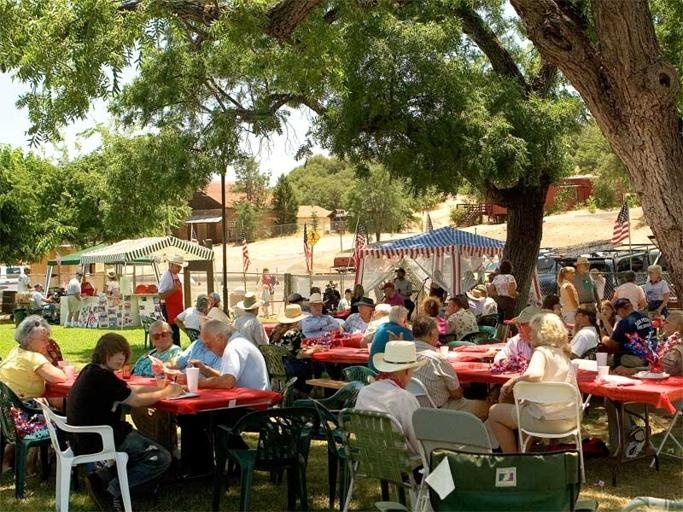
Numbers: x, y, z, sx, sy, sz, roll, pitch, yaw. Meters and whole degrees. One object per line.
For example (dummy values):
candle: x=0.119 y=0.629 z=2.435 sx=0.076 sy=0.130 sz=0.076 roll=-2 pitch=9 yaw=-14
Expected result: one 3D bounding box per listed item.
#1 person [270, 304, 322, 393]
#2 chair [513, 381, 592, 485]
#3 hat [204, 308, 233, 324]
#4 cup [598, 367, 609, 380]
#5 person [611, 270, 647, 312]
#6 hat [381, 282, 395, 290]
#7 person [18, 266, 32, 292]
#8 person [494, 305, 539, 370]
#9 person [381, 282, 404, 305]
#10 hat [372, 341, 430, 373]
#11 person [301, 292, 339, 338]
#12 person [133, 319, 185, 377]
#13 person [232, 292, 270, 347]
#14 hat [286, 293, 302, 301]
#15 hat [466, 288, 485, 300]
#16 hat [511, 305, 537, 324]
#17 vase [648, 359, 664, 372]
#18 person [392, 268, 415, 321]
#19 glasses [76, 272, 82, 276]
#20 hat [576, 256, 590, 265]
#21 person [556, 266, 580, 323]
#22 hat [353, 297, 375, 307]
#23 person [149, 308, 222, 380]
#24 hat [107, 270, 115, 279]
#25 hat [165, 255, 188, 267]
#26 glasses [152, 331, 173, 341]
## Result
person: x=-0.735 y=1.475 z=12.113 sx=0.641 sy=1.605 sz=0.844 roll=15 pitch=21 yaw=34
chair: x=2.124 y=1.755 z=7.971 sx=0.619 sy=1.207 sz=0.837 roll=0 pitch=-22 yaw=2
hat: x=-1.830 y=0.844 z=11.907 sx=0.436 sy=0.122 sz=0.408 roll=9 pitch=6 yaw=-18
cup: x=3.067 y=1.374 z=9.355 sx=0.129 sy=0.143 sz=0.123 roll=3 pitch=1 yaw=0
person: x=5.717 y=0.859 z=15.688 sx=0.606 sy=1.131 sz=0.557 roll=5 pitch=11 yaw=44
hat: x=1.019 y=0.647 z=17.244 sx=0.163 sy=0.130 sz=0.167 roll=2 pitch=-4 yaw=-27
person: x=-13.587 y=1.019 z=34.312 sx=0.638 sy=1.140 sz=0.398 roll=10 pitch=18 yaw=20
person: x=2.216 y=1.071 z=10.089 sx=0.515 sy=0.586 sz=0.778 roll=1 pitch=-3 yaw=44
person: x=1.092 y=0.800 z=17.154 sx=0.393 sy=0.519 sz=1.514 roll=-4 pitch=-4 yaw=3
hat: x=0.582 y=0.970 z=7.859 sx=0.509 sy=0.262 sz=0.568 roll=10 pitch=9 yaw=43
person: x=-0.390 y=1.138 z=14.038 sx=0.638 sy=0.950 sz=0.610 roll=-8 pitch=4 yaw=-18
person: x=-2.420 y=1.289 z=10.422 sx=0.851 sy=0.831 sz=0.514 roll=-6 pitch=-10 yaw=24
person: x=-1.338 y=1.056 z=11.872 sx=0.542 sy=0.986 sz=0.487 roll=5 pitch=4 yaw=31
hat: x=-0.847 y=0.758 z=14.388 sx=0.187 sy=0.089 sz=0.275 roll=-1 pitch=0 yaw=-18
hat: x=3.228 y=0.907 z=19.129 sx=0.367 sy=0.150 sz=0.394 roll=0 pitch=-13 yaw=-1
hat: x=2.279 y=0.726 z=9.893 sx=0.298 sy=0.177 sz=0.215 roll=2 pitch=-5 yaw=-12
vase: x=3.801 y=1.320 z=9.619 sx=0.082 sy=0.128 sz=0.138 roll=16 pitch=-3 yaw=0
person: x=1.595 y=1.126 z=21.258 sx=0.783 sy=1.631 sz=0.747 roll=-1 pitch=1 yaw=22
glasses: x=-9.025 y=0.610 z=27.392 sx=0.111 sy=0.165 sz=0.135 roll=2 pitch=-14 yaw=-16
hat: x=4.911 y=0.089 z=16.257 sx=0.203 sy=0.187 sz=0.593 roll=-5 pitch=-4 yaw=19
person: x=4.385 y=1.001 z=15.297 sx=0.425 sy=1.531 sz=0.375 roll=2 pitch=5 yaw=41
hat: x=0.427 y=0.917 z=15.683 sx=0.358 sy=0.152 sz=0.428 roll=4 pitch=-5 yaw=8
person: x=-1.948 y=1.303 z=9.899 sx=0.626 sy=1.159 sz=0.840 roll=7 pitch=16 yaw=28
hat: x=-7.490 y=0.631 z=26.018 sx=0.290 sy=0.153 sz=0.424 roll=3 pitch=5 yaw=-3
hat: x=-4.173 y=0.128 z=20.221 sx=0.305 sy=0.140 sz=0.331 roll=15 pitch=-7 yaw=-33
glasses: x=-2.285 y=1.034 z=10.126 sx=0.139 sy=0.097 sz=0.185 roll=-4 pitch=-14 yaw=-5
